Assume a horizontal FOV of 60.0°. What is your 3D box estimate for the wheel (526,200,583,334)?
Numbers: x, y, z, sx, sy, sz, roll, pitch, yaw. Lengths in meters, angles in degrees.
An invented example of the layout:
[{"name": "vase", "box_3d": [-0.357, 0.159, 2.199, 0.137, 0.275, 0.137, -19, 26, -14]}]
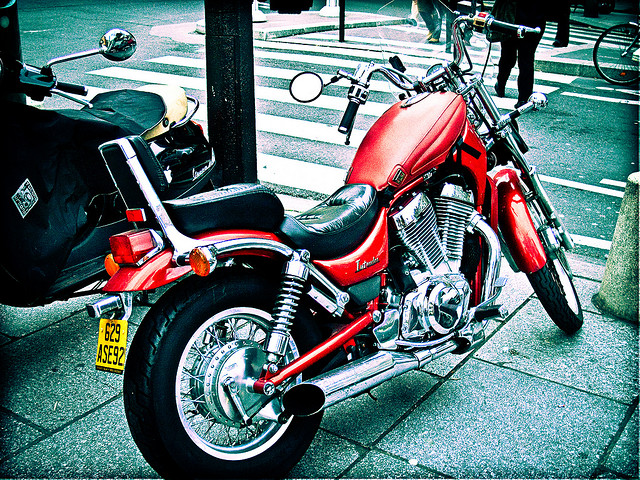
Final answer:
[{"name": "wheel", "box_3d": [1.754, 0.236, 4.180, 0.165, 0.868, 0.806, -29, 32, 9]}]
